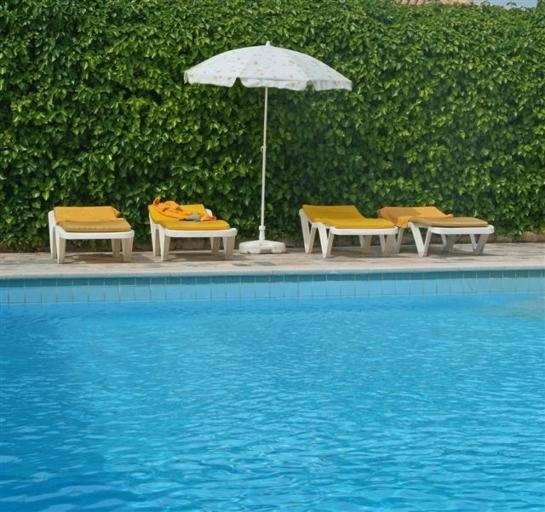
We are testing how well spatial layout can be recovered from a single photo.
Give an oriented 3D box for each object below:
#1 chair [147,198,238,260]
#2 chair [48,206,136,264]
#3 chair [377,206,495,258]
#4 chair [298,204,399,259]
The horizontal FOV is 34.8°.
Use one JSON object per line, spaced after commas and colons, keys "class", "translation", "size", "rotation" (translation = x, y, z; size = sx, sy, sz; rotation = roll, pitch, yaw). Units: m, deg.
{"class": "chair", "translation": [-0.994, -0.287, 10.244], "size": [0.685, 0.501, 1.118], "rotation": [-1, 5, -21]}
{"class": "chair", "translation": [-2.104, -0.246, 9.760], "size": [0.698, 0.402, 1.020], "rotation": [-1, 3, -19]}
{"class": "chair", "translation": [2.044, -0.259, 11.228], "size": [1.205, 0.574, 1.831], "rotation": [0, 10, -3]}
{"class": "chair", "translation": [0.857, -0.309, 10.671], "size": [0.712, 0.431, 1.104], "rotation": [-1, 0, -21]}
